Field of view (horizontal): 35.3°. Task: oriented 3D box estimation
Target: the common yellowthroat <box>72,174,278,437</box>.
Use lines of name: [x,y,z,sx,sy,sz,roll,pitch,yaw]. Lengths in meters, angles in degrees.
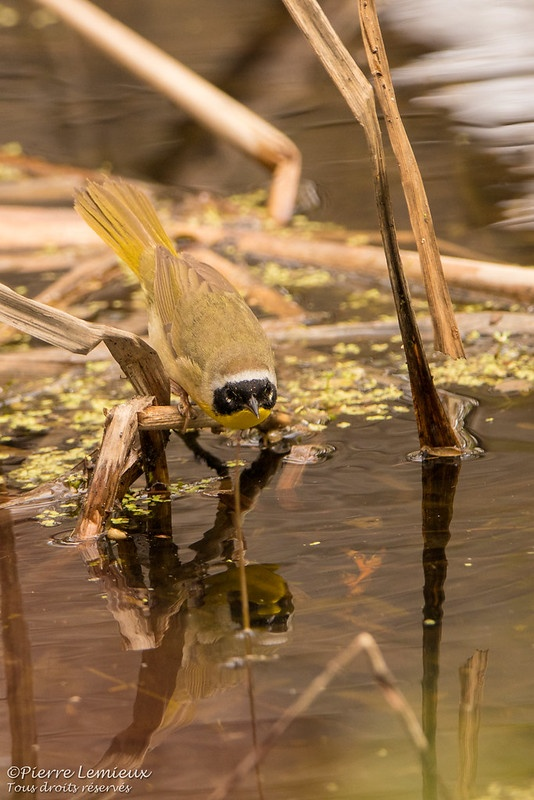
common yellowthroat: [-0.324,-0.437,3.483,0.542,0.994,1.131,-11,15,-26]
